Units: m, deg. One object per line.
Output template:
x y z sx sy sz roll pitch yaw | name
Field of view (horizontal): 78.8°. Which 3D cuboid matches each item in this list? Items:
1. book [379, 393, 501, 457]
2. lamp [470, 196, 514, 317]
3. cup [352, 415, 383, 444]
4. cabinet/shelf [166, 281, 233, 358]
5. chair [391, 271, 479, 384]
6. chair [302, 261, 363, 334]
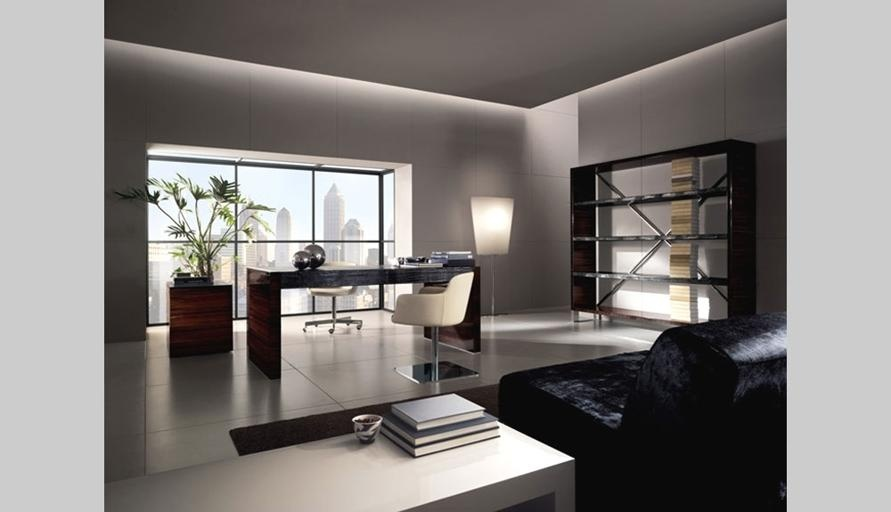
-0.051 0.466 1.546 0.191 0.047 0.172 -2 2 -34 | book
0.567 0.058 6.594 0.423 1.444 1.330 1 2 6 | lamp
-0.224 0.504 1.588 0.082 0.053 0.075 -2 2 0 | cup
-2.105 0.500 4.773 0.726 0.751 0.559 1 -4 -30 | cabinet/shelf
-0.122 0.491 3.981 0.614 0.731 0.565 -1 2 -24 | chair
-1.245 0.507 6.089 0.662 0.591 0.582 -2 -5 -4 | chair
